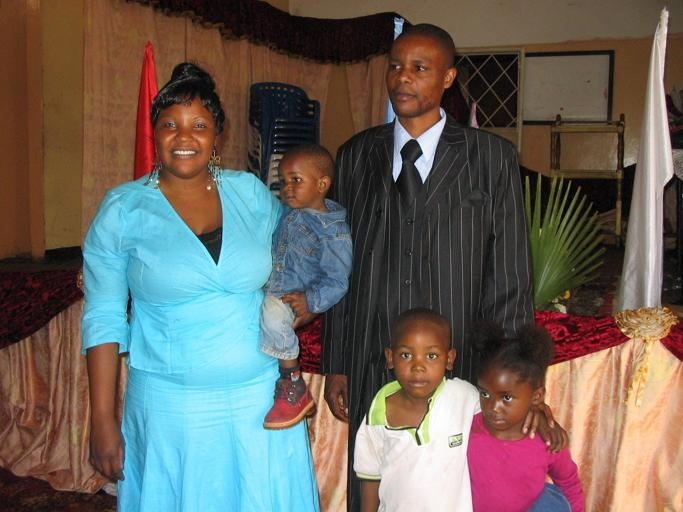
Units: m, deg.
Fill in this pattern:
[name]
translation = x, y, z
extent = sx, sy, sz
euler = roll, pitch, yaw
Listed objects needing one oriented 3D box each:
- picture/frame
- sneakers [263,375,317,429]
[picture/frame]
translation = 3.368, -2.550, 8.884
extent = 1.155, 1.079, 0.052
euler = 1, 19, 11
[sneakers]
translation = -0.207, 0.549, 2.303
extent = 0.102, 0.192, 0.294
euler = -6, 4, 28
